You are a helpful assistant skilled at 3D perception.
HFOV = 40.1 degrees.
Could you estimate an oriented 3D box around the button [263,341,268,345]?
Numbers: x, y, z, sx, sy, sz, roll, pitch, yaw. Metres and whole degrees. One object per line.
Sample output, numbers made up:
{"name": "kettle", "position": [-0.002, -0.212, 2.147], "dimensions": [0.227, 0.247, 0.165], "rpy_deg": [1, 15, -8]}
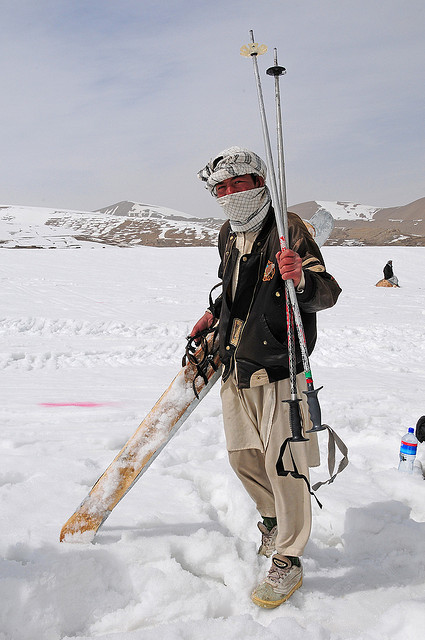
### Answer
{"name": "button", "position": [0.271, 0.114, 2.946], "dimensions": [0.020, 0.016, 0.004], "rpy_deg": [-6, -11, -8]}

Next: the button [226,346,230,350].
{"name": "button", "position": [0.087, 0.151, 3.150], "dimensions": [0.016, 0.014, 0.004], "rpy_deg": [6, 0, 28]}

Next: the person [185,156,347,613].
{"name": "person", "position": [0.291, 0.268, 3.133], "dimensions": [0.471, 2.252, 1.001], "rpy_deg": [-4, 9, -31]}

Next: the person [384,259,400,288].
{"name": "person", "position": [5.788, -1.469, 18.833], "dimensions": [0.505, 0.858, 1.173], "rpy_deg": [5, 9, 29]}

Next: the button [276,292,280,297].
{"name": "button", "position": [0.332, -0.128, 2.913], "dimensions": [0.025, 0.021, 0.006], "rpy_deg": [-1, -5, 3]}

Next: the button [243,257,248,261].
{"name": "button", "position": [0.175, -0.320, 3.063], "dimensions": [0.017, 0.015, 0.018], "rpy_deg": [-10, 9, 18]}

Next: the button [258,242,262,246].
{"name": "button", "position": [0.255, -0.401, 3.093], "dimensions": [0.020, 0.018, 0.005], "rpy_deg": [29, 9, 24]}

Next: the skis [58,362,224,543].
{"name": "skis", "position": [-0.527, 1.004, 4.360], "dimensions": [1.357, 0.183, 0.200], "rpy_deg": [-45, 5, -10]}

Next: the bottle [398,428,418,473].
{"name": "bottle", "position": [1.514, 1.020, 4.495], "dimensions": [0.120, 0.260, 0.256], "rpy_deg": [4, 8, 18]}

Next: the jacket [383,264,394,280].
{"name": "jacket", "position": [5.692, -1.533, 18.706], "dimensions": [0.262, 0.498, 0.497], "rpy_deg": [3, 8, 16]}

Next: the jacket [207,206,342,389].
{"name": "jacket", "position": [0.281, -0.129, 3.160], "dimensions": [0.395, 0.970, 0.874], "rpy_deg": [-4, 9, -34]}
